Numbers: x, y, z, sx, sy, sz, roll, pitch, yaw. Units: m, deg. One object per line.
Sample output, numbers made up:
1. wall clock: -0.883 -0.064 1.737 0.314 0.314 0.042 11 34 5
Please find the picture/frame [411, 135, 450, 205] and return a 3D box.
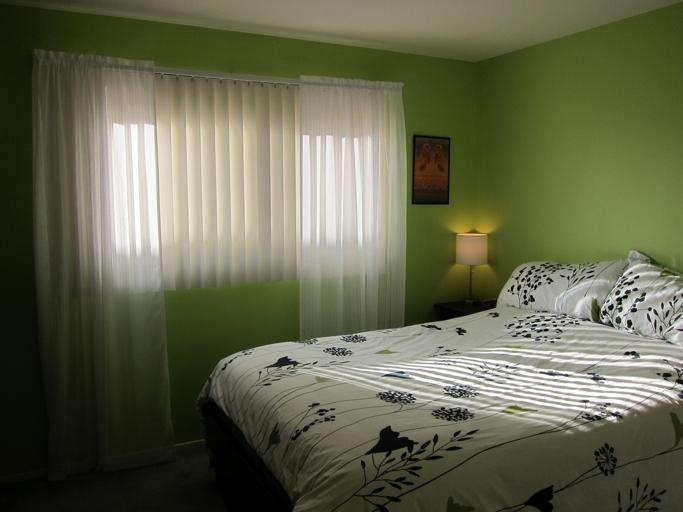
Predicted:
1. picture/frame: 0.846 -0.828 4.873 0.434 0.616 0.018 -2 6 -28
